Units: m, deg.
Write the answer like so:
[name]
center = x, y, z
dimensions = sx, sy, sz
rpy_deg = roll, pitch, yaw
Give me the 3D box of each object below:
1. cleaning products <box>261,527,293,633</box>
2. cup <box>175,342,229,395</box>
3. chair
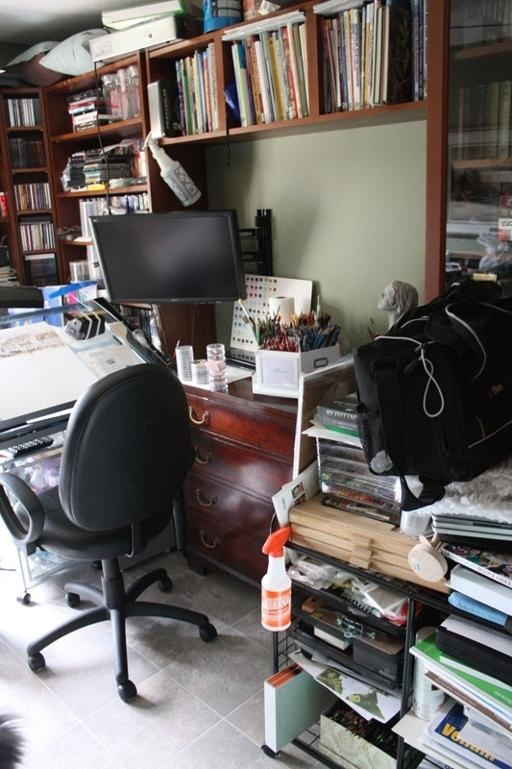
[cleaning products]
center = 0.054, 0.483, 1.381
dimensions = 0.074, 0.310, 0.161
rpy_deg = -3, 12, 2
[cup]
center = -0.191, -0.054, 2.027
dimensions = 0.172, 0.125, 0.076
rpy_deg = 19, 31, 37
[chair]
center = -0.433, 0.407, 1.723
dimensions = 0.493, 0.989, 0.510
rpy_deg = 6, 15, 35
